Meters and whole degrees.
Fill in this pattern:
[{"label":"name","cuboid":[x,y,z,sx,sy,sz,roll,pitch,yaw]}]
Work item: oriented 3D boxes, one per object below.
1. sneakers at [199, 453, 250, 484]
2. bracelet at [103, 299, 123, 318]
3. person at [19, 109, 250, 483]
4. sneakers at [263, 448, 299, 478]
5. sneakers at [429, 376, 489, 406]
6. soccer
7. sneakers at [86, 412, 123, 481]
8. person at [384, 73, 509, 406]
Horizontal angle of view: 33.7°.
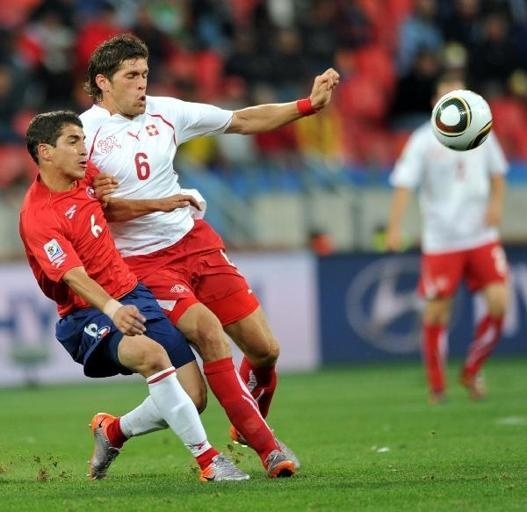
[{"label":"sneakers","cuboid":[-0.189,1.015,4.187,0.229,0.094,0.109,-1,0,19]},{"label":"bracelet","cuboid":[-0.691,0.232,3.940,0.061,0.077,0.078,25,29,-14]},{"label":"person","cuboid":[-0.739,0.194,4.254,0.862,1.478,0.726,-8,4,9]},{"label":"sneakers","cuboid":[0.089,1.013,4.255,0.097,0.093,0.214,-4,-23,-8]},{"label":"sneakers","cuboid":[1.662,1.114,7.227,0.650,0.222,0.192,4,-2,-38]},{"label":"soccer","cuboid":[1.215,-0.860,5.573,0.431,0.408,0.386,2,3,-2]},{"label":"sneakers","cuboid":[-0.838,0.992,4.560,0.202,0.335,0.134,1,-10,20]},{"label":"person","cuboid":[1.571,-0.137,7.190,1.029,2.669,0.851,-8,5,13]}]
